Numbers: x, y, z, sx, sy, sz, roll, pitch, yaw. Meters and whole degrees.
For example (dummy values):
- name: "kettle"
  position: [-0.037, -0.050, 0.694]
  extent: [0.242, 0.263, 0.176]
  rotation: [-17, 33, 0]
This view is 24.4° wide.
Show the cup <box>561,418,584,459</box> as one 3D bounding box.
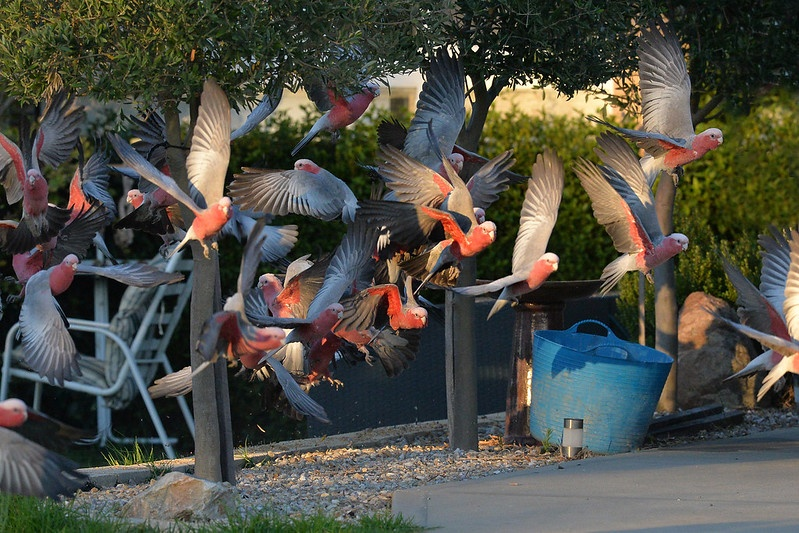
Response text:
- name: "cup"
  position: [1.451, 1.437, 15.402]
  extent: [0.172, 0.331, 0.144]
  rotation: [1, 8, 6]
